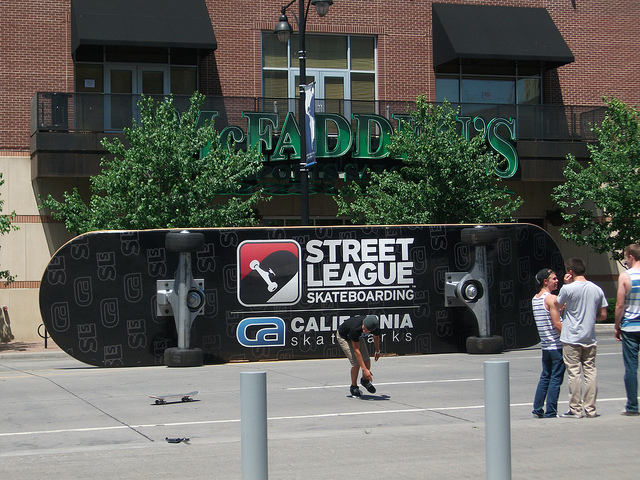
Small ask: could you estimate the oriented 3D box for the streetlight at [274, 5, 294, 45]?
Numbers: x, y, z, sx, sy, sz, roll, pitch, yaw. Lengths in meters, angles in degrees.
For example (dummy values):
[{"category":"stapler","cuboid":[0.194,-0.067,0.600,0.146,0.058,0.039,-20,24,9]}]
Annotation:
[{"category":"streetlight","cuboid":[-1.120,-6.518,40.393,0.515,1.015,1.478,-2,-1,-1]}]
